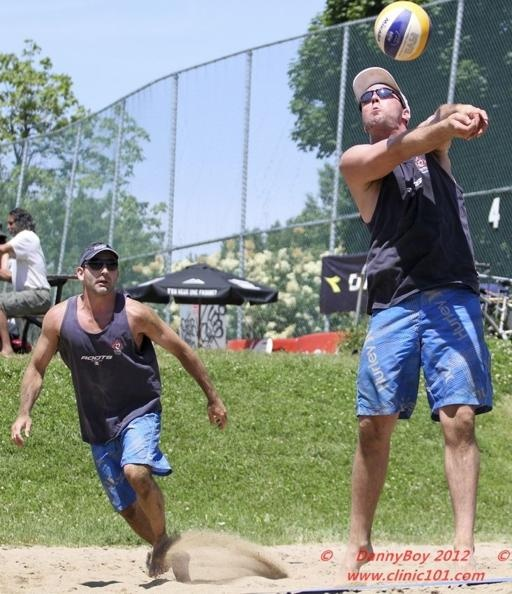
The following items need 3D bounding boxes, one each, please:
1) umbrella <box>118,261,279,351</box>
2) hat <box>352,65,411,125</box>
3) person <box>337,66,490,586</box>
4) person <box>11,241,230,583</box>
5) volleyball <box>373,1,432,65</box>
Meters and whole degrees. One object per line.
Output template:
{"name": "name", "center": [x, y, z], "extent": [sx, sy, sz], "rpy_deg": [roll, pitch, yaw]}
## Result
{"name": "umbrella", "center": [-0.706, 0.233, 14.326], "extent": [1.367, 1.309, 1.570], "rpy_deg": [0, 4, 42]}
{"name": "hat", "center": [0.760, -1.212, 6.480], "extent": [0.221, 0.424, 0.125], "rpy_deg": [-7, 25, 22]}
{"name": "person", "center": [0.947, 0.121, 6.185], "extent": [0.879, 2.790, 1.070], "rpy_deg": [2, 2, 1]}
{"name": "person", "center": [-0.803, 0.573, 6.810], "extent": [0.803, 2.389, 1.068], "rpy_deg": [0, 0, -24]}
{"name": "volleyball", "center": [0.870, -1.496, 6.321], "extent": [0.265, 0.377, 0.293], "rpy_deg": [-3, 1, -21]}
